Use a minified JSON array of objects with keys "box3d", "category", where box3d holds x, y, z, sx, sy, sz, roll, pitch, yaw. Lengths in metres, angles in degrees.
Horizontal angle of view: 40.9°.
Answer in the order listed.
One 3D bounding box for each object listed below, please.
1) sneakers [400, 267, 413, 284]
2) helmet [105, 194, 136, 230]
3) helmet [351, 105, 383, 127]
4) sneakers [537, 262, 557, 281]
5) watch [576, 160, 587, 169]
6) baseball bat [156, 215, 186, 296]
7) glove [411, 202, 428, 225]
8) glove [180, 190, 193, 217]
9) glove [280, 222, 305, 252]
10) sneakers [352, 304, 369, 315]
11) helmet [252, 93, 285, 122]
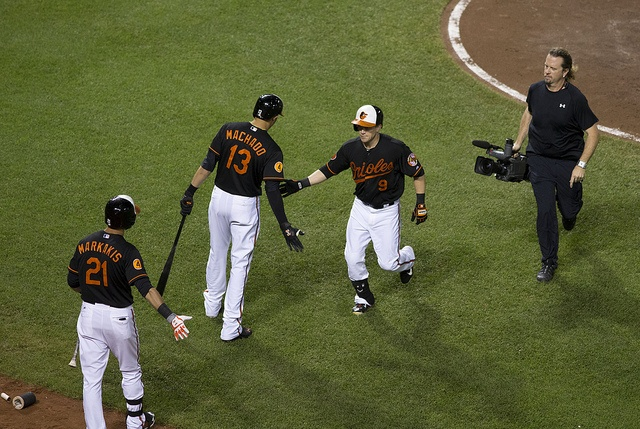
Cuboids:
[{"box3d":[1.244,0.890,12.357,0.118,0.272,0.126,17,9,27],"category":"sneakers"},{"box3d":[-2.445,-0.036,10.557,0.364,0.391,0.480,14,12,14],"category":"helmet"},{"box3d":[0.636,-1.310,11.354,0.365,0.179,0.271,-10,16,-36],"category":"helmet"},{"box3d":[3.231,0.831,12.274,0.151,0.161,0.401,9,23,24],"category":"sneakers"},{"box3d":[3.661,-0.692,12.013,0.124,0.113,0.080,17,-6,6],"category":"watch"},{"box3d":[-2.165,0.653,12.601,0.177,1.204,0.165,23,1,-2],"category":"baseball bat"},{"box3d":[1.376,-0.015,11.935,0.304,0.258,0.107,1,7,-8],"category":"glove"},{"box3d":[-1.832,-0.145,11.893,0.235,0.288,0.140,14,-4,-27],"category":"glove"},{"box3d":[-0.354,0.294,11.480,0.289,0.393,0.120,-35,13,3],"category":"glove"},{"box3d":[0.571,1.339,12.049,0.286,0.109,0.104,2,3,-29],"category":"sneakers"},{"box3d":[-0.689,-1.444,11.504,0.364,0.382,0.491,20,19,19],"category":"helmet"}]
